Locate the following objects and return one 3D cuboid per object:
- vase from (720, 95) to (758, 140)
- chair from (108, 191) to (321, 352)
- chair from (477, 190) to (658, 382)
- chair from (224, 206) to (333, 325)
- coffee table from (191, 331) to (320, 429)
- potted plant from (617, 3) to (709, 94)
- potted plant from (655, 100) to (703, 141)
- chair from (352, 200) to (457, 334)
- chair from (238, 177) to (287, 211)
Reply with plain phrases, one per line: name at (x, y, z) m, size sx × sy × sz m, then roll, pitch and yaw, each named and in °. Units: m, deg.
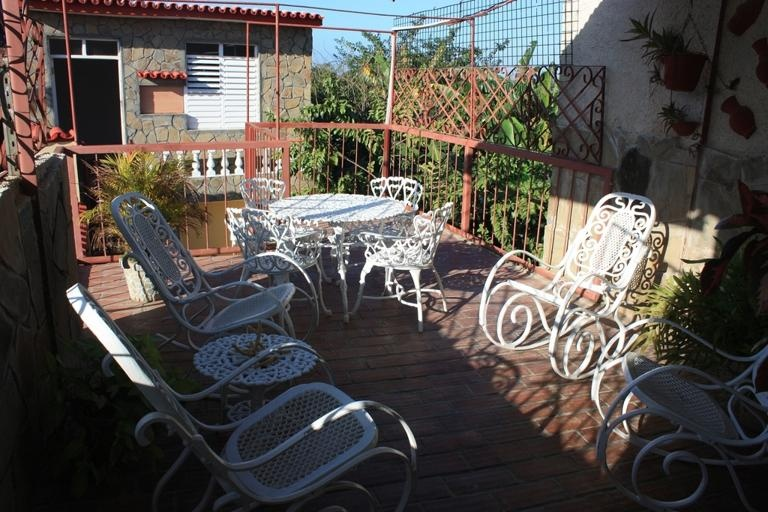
vase at (2.784, -1.086, 4.536) m, size 0.172 × 0.199 × 0.310 m, roll -23°, pitch 72°, yaw -21°
chair at (-1.241, 0.094, 4.256) m, size 1.311 × 1.099 × 0.807 m, roll 3°, pitch 11°, yaw 1°
chair at (1.637, 0.247, 4.894) m, size 1.335 × 1.453 × 0.792 m, roll -11°, pitch 17°, yaw -32°
chair at (-0.965, 0.067, 5.041) m, size 0.788 × 1.047 × 0.661 m, roll 11°, pitch 15°, yaw 39°
coffee table at (-0.813, 0.808, 3.554) m, size 0.737 × 0.474 × 0.758 m, roll -5°, pitch 18°, yaw -33°
potted plant at (2.353, -1.749, 4.959) m, size 0.331 × 0.640 × 0.789 m, roll -7°, pitch 21°, yaw -17°
potted plant at (2.474, -1.156, 4.914) m, size 0.141 × 0.281 × 0.425 m, roll -11°, pitch 23°, yaw -26°
chair at (0.122, 0.031, 5.251) m, size 0.770 × 1.067 × 0.831 m, roll 1°, pitch 11°, yaw -15°
chair at (-1.323, -0.669, 6.089) m, size 0.371 × 0.234 × 0.439 m, roll 16°, pitch 24°, yaw 33°
